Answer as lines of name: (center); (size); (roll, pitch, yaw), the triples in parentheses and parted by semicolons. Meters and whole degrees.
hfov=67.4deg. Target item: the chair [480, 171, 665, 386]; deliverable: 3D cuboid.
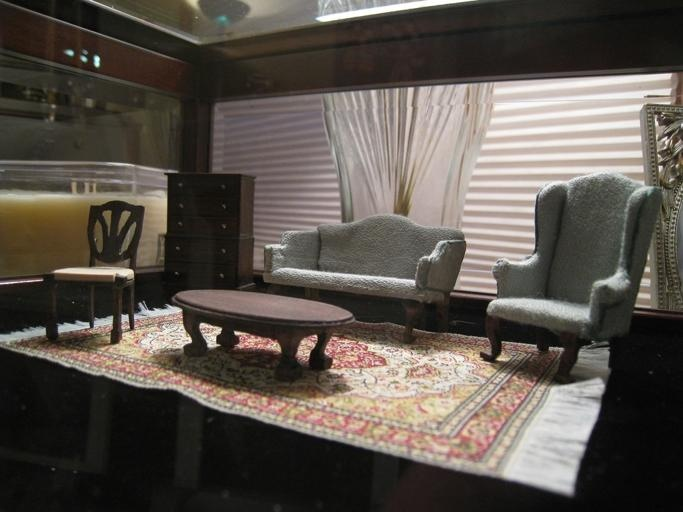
chair: (1.720, 0.122, 3.936); (0.911, 1.439, 1.079); (-4, 11, -24)

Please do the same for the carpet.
carpet: (-0.236, 0.781, 3.984); (4.213, 0.261, 2.282); (4, 7, 22)

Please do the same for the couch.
couch: (0.196, 0.131, 4.959); (1.850, 0.934, 0.903); (6, 8, 39)

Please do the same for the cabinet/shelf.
cabinet/shelf: (-1.576, -0.276, 5.805); (0.933, 1.316, 0.223); (3, 7, 8)
